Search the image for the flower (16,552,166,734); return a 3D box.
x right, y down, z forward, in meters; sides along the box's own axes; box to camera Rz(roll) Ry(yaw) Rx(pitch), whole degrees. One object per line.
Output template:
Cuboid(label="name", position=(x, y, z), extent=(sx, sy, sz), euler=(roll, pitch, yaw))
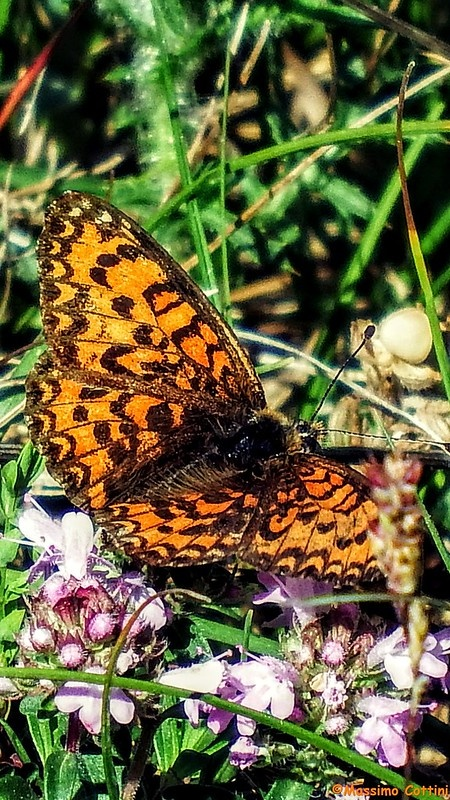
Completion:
Cuboid(label="flower", position=(-0.321, 0.553, 1.943), extent=(0.376, 0.197, 0.380), euler=(17, 52, -10))

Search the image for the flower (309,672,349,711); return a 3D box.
Cuboid(label="flower", position=(0.240, 0.675, 1.908), extent=(0.069, 0.093, 0.036), euler=(-10, 2, 31))

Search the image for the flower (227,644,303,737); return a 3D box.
Cuboid(label="flower", position=(0.093, 0.715, 1.954), extent=(0.158, 0.147, 0.156), euler=(0, 32, 13))

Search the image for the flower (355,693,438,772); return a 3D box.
Cuboid(label="flower", position=(0.371, 0.782, 1.924), extent=(0.125, 0.147, 0.131), euler=(-1, 32, 12))

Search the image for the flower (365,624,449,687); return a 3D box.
Cuboid(label="flower", position=(0.455, 0.598, 1.961), extent=(0.160, 0.059, 0.167), euler=(28, 39, 28))

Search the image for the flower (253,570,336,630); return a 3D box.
Cuboid(label="flower", position=(0.178, 0.497, 2.093), extent=(0.178, 0.157, 0.065), euler=(0, 47, 20))
